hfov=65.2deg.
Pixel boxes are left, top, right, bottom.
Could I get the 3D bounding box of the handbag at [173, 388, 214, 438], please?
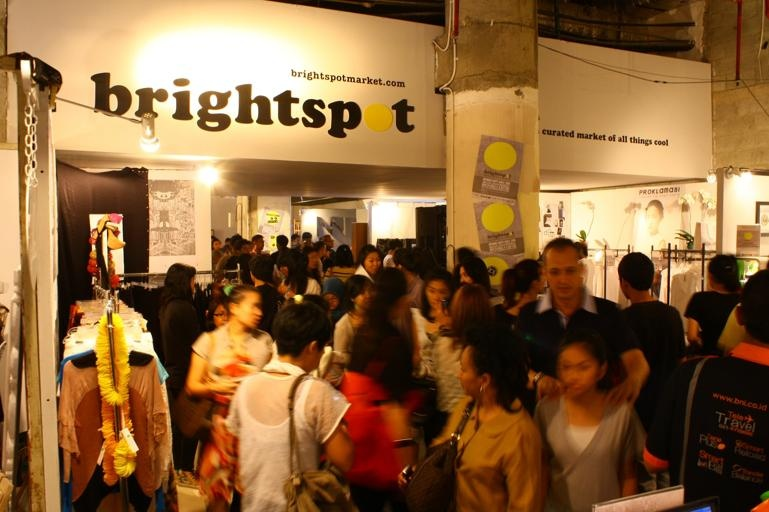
[{"bbox_3d":[-1.313,1.119,4.193,0.156,0.361,0.558,-1,2,-39],"label":"handbag"}]
